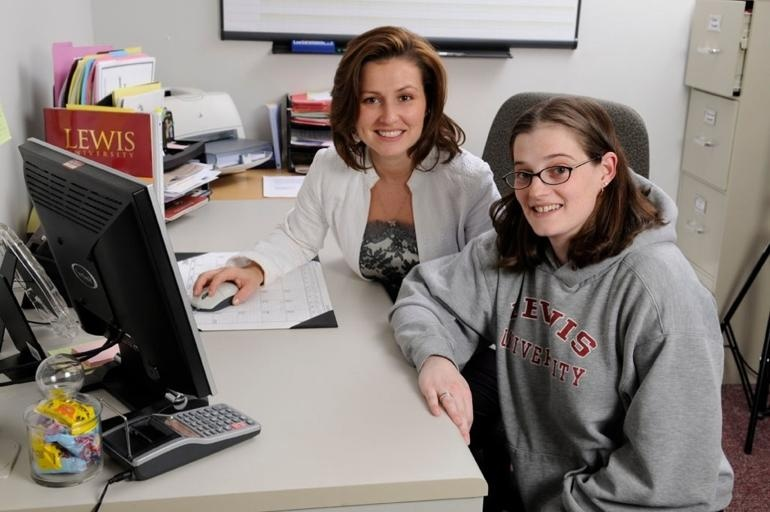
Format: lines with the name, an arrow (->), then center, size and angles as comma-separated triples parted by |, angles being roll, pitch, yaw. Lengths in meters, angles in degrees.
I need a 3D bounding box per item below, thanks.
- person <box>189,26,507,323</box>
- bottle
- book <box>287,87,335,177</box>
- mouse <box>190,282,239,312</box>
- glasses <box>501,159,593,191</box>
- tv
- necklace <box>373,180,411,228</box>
person -> 0.001, -0.336, 1.911 | 1.444, 0.907, 0.744 | 4, 21, 4
bottle -> -0.542, 0.298, 1.089 | 0.193, 0.191, 0.199 | -3, 24, -16
book -> -0.344, -0.568, 2.750 | 0.326, 0.435, 0.272 | 7, 26, -4
mouse -> -0.461, 0.106, 1.498 | 0.064, 0.031, 0.101 | 15, 18, 29
glasses -> 0.380, -0.185, 1.287 | 0.188, 0.074, 0.062 | 4, 21, 15
tv -> -0.610, 0.044, 1.219 | 0.580, 0.545, 0.194 | 21, 34, 38
necklace -> 0.027, -0.185, 1.762 | 0.158, 0.032, 0.140 | 2, 55, -2
